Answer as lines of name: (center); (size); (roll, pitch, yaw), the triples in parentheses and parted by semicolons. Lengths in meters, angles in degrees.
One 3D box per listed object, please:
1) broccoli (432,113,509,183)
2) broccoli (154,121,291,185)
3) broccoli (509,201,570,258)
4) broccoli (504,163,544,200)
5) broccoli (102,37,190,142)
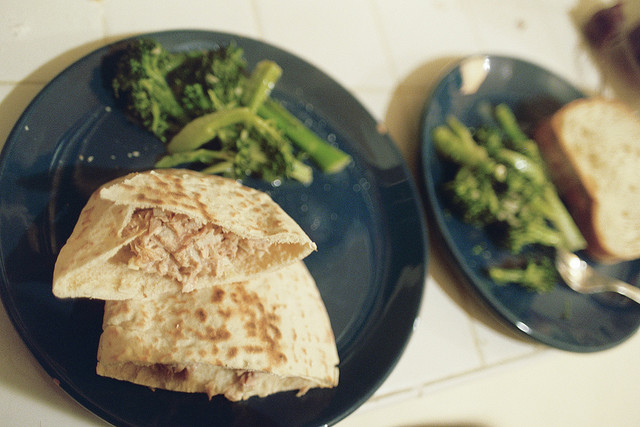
broccoli: (0.740, -0.316, 3.171); (0.250, 0.333, 0.336); (-25, 119, -22)
broccoli: (-0.412, -0.280, 3.076); (0.456, 0.204, 0.332); (-1, 58, -10)
broccoli: (1.082, 0.080, 3.201); (0.264, 0.083, 0.275); (-4, 75, -12)
broccoli: (1.014, -0.156, 3.203); (0.196, 0.059, 0.109); (28, 58, -9)
broccoli: (-0.788, -0.513, 3.143); (0.160, 0.669, 0.571); (-11, 75, -21)
